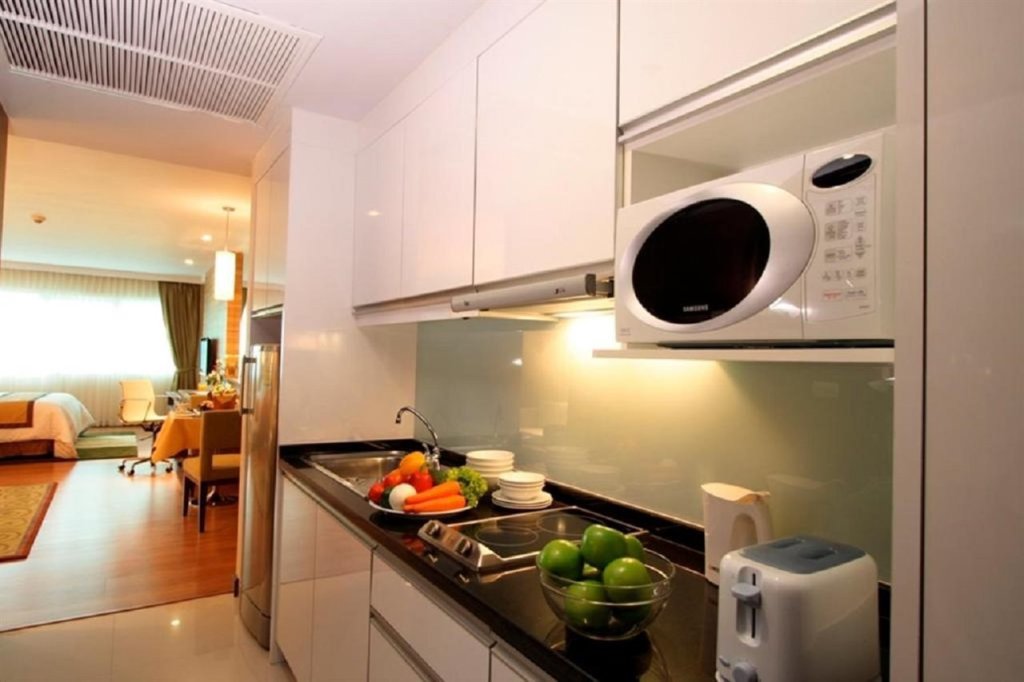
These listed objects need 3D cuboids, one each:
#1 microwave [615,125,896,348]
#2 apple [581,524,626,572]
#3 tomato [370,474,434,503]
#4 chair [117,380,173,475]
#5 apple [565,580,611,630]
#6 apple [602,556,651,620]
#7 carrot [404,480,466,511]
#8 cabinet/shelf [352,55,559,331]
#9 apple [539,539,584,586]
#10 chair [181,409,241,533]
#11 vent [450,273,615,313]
[{"bbox_3d":[0.625,-0.151,1.710,0.404,0.458,0.719,18,-15,-41],"label":"microwave"},{"bbox_3d":[0.228,0.511,1.680,0.097,0.098,0.103,17,-16,-40],"label":"apple"},{"bbox_3d":[-0.407,0.513,2.414,0.178,0.083,0.108,-13,-4,-4],"label":"tomato"},{"bbox_3d":[-5.031,1.160,9.241,0.941,1.162,0.923,-11,-10,35],"label":"chair"},{"bbox_3d":[0.178,0.607,1.552,0.099,0.116,0.099,-2,1,2],"label":"apple"},{"bbox_3d":[0.275,0.590,1.598,0.119,0.140,0.117,3,-5,31],"label":"apple"},{"bbox_3d":[-0.260,0.535,2.345,0.167,0.056,0.084,5,28,-38],"label":"carrot"},{"bbox_3d":[-0.370,-0.416,2.916,0.264,0.674,0.812,6,-5,-40],"label":"cabinet/shelf"},{"bbox_3d":[0.125,0.538,1.654,0.093,0.112,0.096,-1,-10,-13],"label":"apple"},{"bbox_3d":[-2.331,0.954,5.362,0.628,0.893,0.640,2,3,-15],"label":"chair"},{"bbox_3d":[0.056,-0.143,2.117,0.168,0.110,0.665,2,1,-34],"label":"vent"}]
